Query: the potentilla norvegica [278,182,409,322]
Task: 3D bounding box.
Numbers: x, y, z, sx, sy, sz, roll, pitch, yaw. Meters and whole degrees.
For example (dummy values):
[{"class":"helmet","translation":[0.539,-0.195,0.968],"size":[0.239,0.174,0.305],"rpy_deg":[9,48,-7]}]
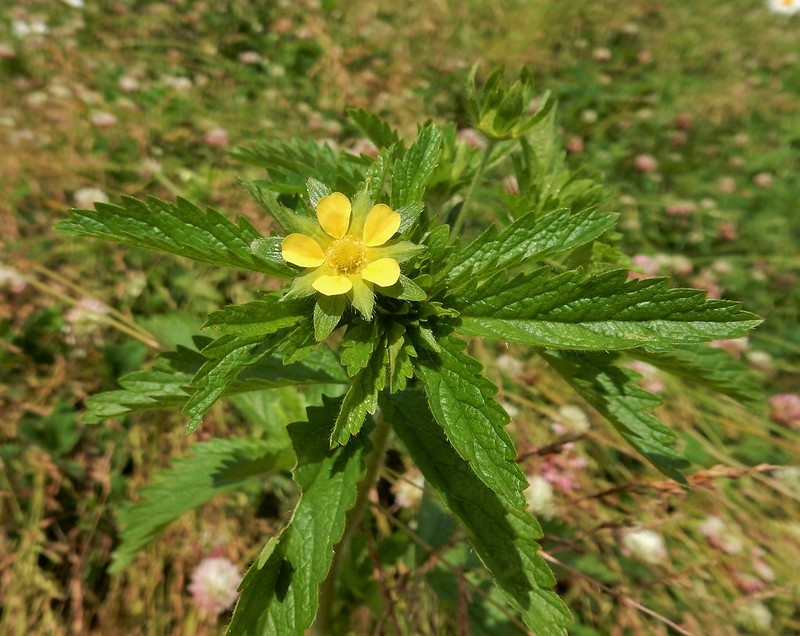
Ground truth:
[{"class":"potentilla norvegica","translation":[-0.166,-0.206,2.065],"size":[0.371,0.102,0.416],"rpy_deg":[26,76,3]}]
